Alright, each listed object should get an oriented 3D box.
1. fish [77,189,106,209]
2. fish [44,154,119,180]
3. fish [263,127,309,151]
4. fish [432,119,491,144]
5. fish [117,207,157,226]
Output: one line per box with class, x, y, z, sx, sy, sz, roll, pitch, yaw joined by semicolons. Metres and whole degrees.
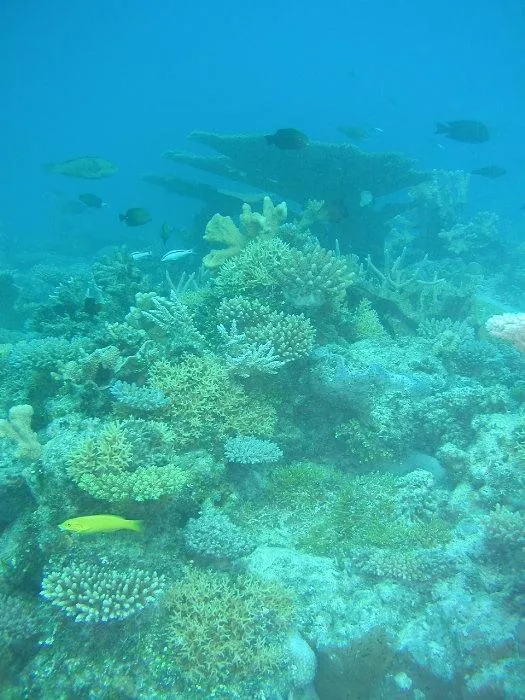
fish;-2.355;-2.043;9.544;0.319;0.226;0.470;-7;17;-14
fish;-2.194;-2.188;8.340;0.820;0.245;0.557;-7;17;-15
fish;0.303;-2.550;8.382;0.524;0.243;0.327;9;20;35
fish;2.584;-2.797;8.908;0.575;0.281;0.605;6;18;26
fish;-1.633;-1.697;8.854;0.390;0.263;0.552;-4;16;-5
